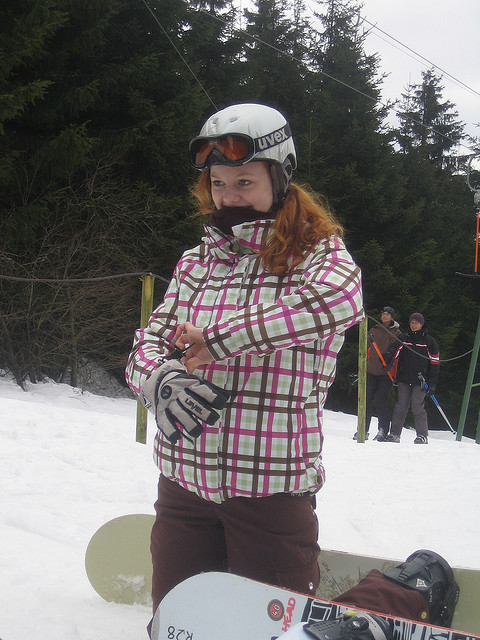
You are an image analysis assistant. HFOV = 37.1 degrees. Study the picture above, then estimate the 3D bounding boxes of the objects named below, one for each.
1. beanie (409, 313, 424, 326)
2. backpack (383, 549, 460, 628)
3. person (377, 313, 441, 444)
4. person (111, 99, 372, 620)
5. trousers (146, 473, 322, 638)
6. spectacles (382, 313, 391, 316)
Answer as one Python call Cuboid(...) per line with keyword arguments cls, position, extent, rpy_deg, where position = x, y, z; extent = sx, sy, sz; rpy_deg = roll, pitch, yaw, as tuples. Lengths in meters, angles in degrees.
Cuboid(cls="beanie", position=(2.070, -0.016, 8.326), extent=(0.142, 0.120, 0.149), rpy_deg=(4, -30, 36))
Cuboid(cls="backpack", position=(0.515, 0.767, 2.019), extent=(0.158, 0.181, 0.206), rpy_deg=(33, 49, 27))
Cuboid(cls="person", position=(1.985, 0.704, 8.249), extent=(0.592, 1.555, 0.824), rpy_deg=(4, 4, -12))
Cuboid(cls="person", position=(0.003, 0.120, 1.976), extent=(0.644, 1.492, 0.667), rpy_deg=(6, 4, 13))
Cuboid(cls="trousers", position=(-0.031, 0.610, 1.895), extent=(0.466, 0.386, 0.158), rpy_deg=(6, 4, 22))
Cuboid(cls="spectacles", position=(1.760, -0.074, 8.629), extent=(0.105, 0.031, 0.048), rpy_deg=(8, 5, 42))
